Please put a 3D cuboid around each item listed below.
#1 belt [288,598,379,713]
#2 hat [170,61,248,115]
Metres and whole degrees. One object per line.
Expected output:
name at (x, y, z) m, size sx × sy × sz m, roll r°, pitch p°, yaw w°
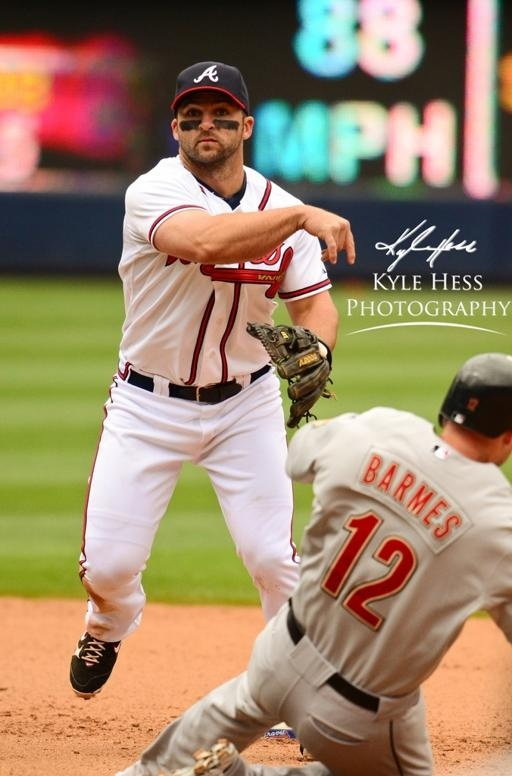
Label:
belt at (0.193, 0.604, 2.003) m, size 0.187 × 0.047 × 0.190 m, roll 26°, pitch 21°, yaw -50°
hat at (-0.146, -0.978, 2.838) m, size 0.232 × 0.204 × 0.276 m, roll 1°, pitch 3°, yaw -1°
